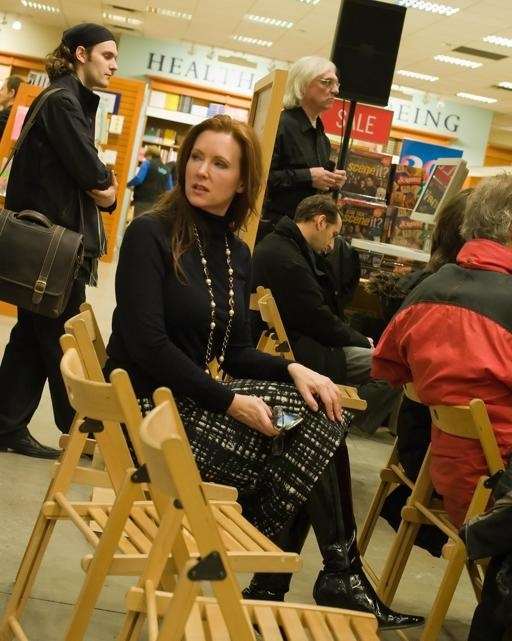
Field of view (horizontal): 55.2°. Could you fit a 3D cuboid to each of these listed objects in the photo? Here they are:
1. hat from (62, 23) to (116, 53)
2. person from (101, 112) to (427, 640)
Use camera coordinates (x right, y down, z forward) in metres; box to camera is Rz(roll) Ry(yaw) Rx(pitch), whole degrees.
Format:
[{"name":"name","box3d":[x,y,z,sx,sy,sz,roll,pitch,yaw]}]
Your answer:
[{"name":"hat","box3d":[-0.826,-1.360,2.413,0.209,0.072,0.156,-3,21,2]},{"name":"person","box3d":[0.004,0.142,1.459,0.878,1.404,0.537,1,7,17]}]
